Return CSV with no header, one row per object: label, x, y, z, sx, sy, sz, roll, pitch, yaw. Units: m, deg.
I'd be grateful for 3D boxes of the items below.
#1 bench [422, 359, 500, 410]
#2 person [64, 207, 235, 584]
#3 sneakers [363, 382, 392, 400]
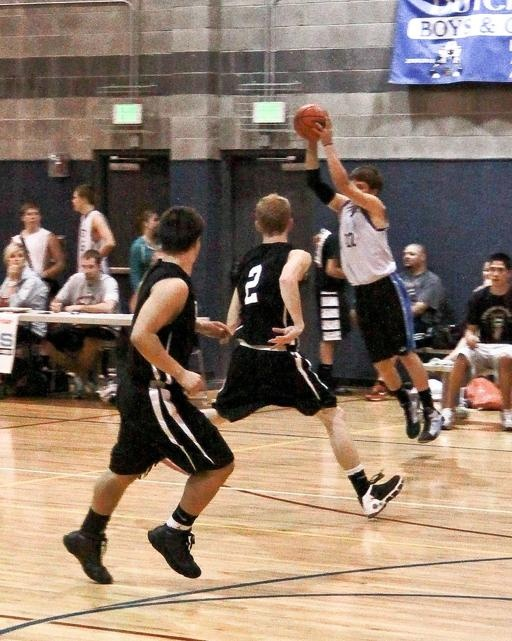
bench,1.715,0.501,7.037,0.612,0.471,0.555,0,-5,5
person,-0.321,0.266,2.716,0.512,1.291,0.524,0,1,-31
sneakers,1.167,0.697,8.030,0.130,0.134,0.363,-1,-3,25
